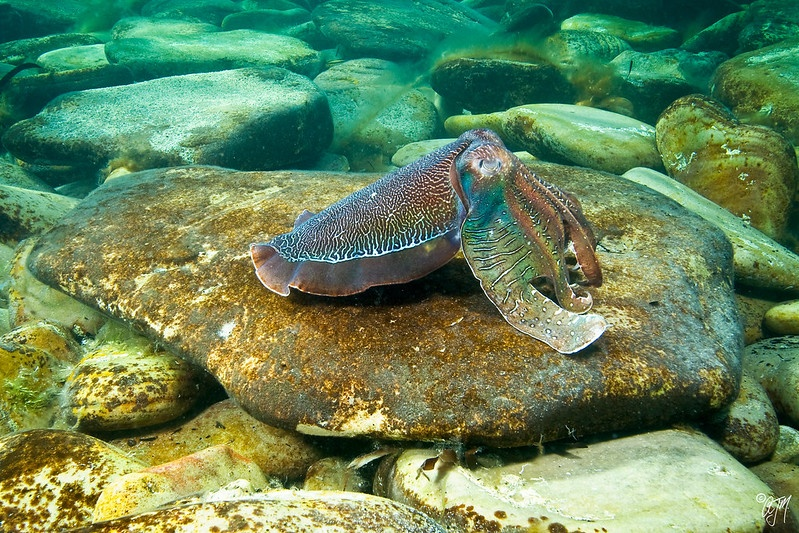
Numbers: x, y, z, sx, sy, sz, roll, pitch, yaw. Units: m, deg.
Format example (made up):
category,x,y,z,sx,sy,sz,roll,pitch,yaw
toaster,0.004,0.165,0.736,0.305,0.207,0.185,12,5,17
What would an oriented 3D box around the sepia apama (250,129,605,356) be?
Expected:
category,x,y,z,sx,sy,sz,roll,pitch,yaw
sepia apama,0.213,-0.594,8.560,3.438,1.298,2.565,4,33,3
